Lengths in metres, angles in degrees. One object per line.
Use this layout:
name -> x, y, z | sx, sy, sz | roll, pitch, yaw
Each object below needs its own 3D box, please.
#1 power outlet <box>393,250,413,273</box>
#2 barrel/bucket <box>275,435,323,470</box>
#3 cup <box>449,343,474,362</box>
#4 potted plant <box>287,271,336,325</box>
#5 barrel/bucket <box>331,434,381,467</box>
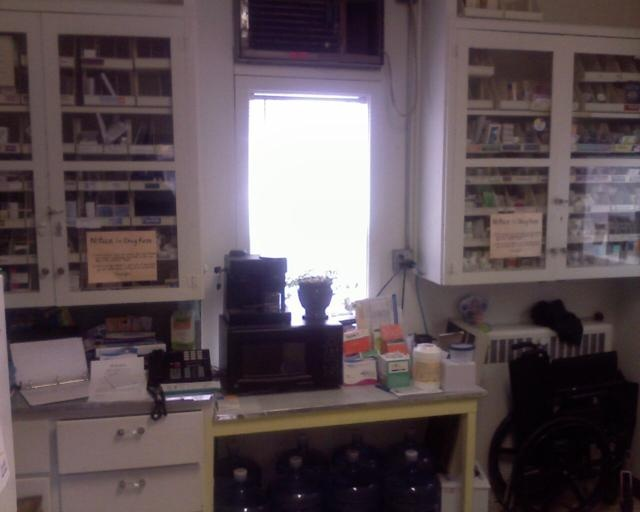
power outlet -> 0.473, 0.029, 3.625 | 0.114, 0.117, 0.029 | -3, 0, -4
barrel/bucket -> -0.110, 1.083, 3.358 | 0.194, 0.224, 0.195 | 0, 2, 0
cup -> 0.724, 0.487, 3.133 | 0.088, 0.055, 0.092 | -1, 3, 0
potted plant -> -0.034, 0.206, 3.162 | 0.209, 0.224, 0.216 | 0, -7, -2
barrel/bucket -> 0.207, 1.082, 3.434 | 0.192, 0.227, 0.195 | 1, 3, 0
